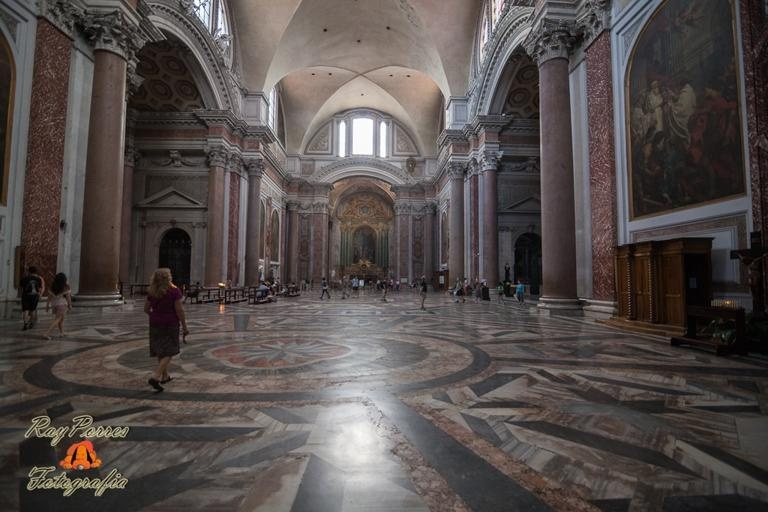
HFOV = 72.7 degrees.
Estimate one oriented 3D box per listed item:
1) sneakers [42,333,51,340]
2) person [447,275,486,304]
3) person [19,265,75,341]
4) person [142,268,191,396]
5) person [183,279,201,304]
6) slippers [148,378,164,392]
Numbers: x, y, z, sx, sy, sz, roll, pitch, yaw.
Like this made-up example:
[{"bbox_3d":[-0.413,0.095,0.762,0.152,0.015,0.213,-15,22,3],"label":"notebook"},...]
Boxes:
[{"bbox_3d":[-6.627,1.600,10.258,0.054,0.106,0.150,33,7,17],"label":"sneakers"},{"bbox_3d":[3.662,1.511,23.559,1.183,0.815,0.943,5,-7,-38],"label":"person"},{"bbox_3d":[-7.474,1.073,11.475,1.386,1.771,0.849,0,0,-8],"label":"person"},{"bbox_3d":[-3.318,1.101,7.940,0.563,1.826,0.466,-1,-5,-22],"label":"person"},{"bbox_3d":[-7.754,1.478,21.124,0.806,0.783,0.592,0,-4,3],"label":"person"},{"bbox_3d":[-3.367,1.902,7.721,0.196,0.203,0.256,-1,-5,-23],"label":"slippers"}]
